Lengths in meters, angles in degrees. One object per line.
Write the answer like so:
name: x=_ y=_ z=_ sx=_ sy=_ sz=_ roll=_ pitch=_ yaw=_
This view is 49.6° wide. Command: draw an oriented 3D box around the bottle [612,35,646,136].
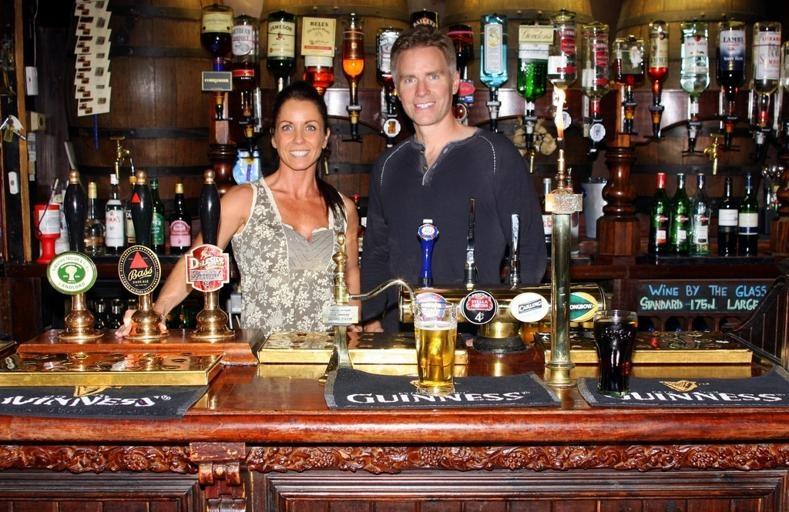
bottle: x=1.329 y=-0.971 z=4.901 sx=0.173 sy=0.550 sz=0.326 roll=3 pitch=7 yaw=14

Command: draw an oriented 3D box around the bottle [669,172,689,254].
bottle: x=1.644 y=-0.242 z=4.922 sx=0.115 sy=0.449 sz=0.294 roll=4 pitch=7 yaw=17

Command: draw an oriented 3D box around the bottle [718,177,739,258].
bottle: x=1.905 y=-0.227 z=4.875 sx=0.110 sy=0.426 sz=0.390 roll=5 pitch=7 yaw=22

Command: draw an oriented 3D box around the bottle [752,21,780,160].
bottle: x=2.125 y=-0.965 z=4.921 sx=0.161 sy=0.741 sz=0.403 roll=4 pitch=7 yaw=21

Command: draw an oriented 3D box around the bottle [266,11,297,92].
bottle: x=-0.646 y=-1.161 z=4.847 sx=0.146 sy=0.424 sz=0.121 roll=0 pitch=7 yaw=-12

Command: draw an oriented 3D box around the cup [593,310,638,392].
cup: x=0.750 y=0.328 z=2.938 sx=0.138 sy=0.282 sz=0.118 roll=3 pitch=7 yaw=10

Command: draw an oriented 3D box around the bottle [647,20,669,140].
bottle: x=1.531 y=-1.029 z=5.000 sx=0.125 sy=0.693 sz=0.386 roll=4 pitch=7 yaw=17

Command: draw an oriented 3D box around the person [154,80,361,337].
person: x=-0.490 y=-0.176 z=4.117 sx=1.603 sy=1.148 sz=0.405 roll=-1 pitch=5 yaw=-7

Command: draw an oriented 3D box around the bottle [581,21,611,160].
bottle: x=1.120 y=-0.943 z=4.835 sx=0.149 sy=0.714 sz=0.222 roll=3 pitch=7 yaw=10

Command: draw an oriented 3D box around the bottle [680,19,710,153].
bottle: x=1.709 y=-0.966 z=4.921 sx=0.162 sy=0.751 sz=0.230 roll=4 pitch=7 yaw=15

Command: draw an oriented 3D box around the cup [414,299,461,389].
cup: x=0.132 y=0.309 z=2.927 sx=0.146 sy=0.322 sz=0.102 roll=2 pitch=7 yaw=0

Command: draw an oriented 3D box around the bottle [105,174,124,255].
bottle: x=-1.565 y=-0.188 z=4.768 sx=0.108 sy=0.345 sz=0.202 roll=-1 pitch=7 yaw=-18

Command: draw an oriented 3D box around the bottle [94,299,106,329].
bottle: x=-1.676 y=0.324 z=4.842 sx=0.066 sy=0.150 sz=0.106 roll=-1 pitch=7 yaw=-19

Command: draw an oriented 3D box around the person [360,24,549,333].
person: x=0.279 y=-0.422 z=3.892 sx=0.848 sy=1.230 sz=0.415 roll=1 pitch=7 yaw=-3

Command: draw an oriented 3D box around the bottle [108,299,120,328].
bottle: x=-1.595 y=0.317 z=4.874 sx=0.076 sy=0.151 sz=0.225 roll=-1 pitch=7 yaw=-18
